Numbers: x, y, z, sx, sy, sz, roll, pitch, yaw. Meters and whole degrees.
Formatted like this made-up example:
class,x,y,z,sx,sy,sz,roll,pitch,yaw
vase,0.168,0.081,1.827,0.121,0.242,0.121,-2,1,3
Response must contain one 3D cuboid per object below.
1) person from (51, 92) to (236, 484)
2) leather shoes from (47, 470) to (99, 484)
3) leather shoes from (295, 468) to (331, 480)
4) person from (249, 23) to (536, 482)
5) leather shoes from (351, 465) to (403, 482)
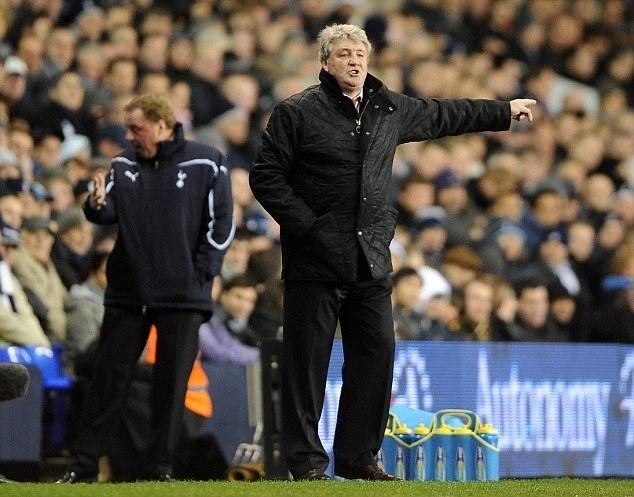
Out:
class,x,y,z,sx,sy,sz,roll,pitch,yaw
person,-1.162,0.243,11.794,1.045,2.654,0.914,2,-5,0
leather shoes,-1.621,1.527,11.611,0.355,0.073,0.209,7,-9,-32
leather shoes,-0.035,1.455,11.225,0.226,0.094,0.083,4,-3,-1
person,0.232,0.028,11.467,1.413,2.995,0.462,5,-8,-19
leather shoes,0.388,1.467,11.319,0.328,0.116,0.109,-3,-6,17
